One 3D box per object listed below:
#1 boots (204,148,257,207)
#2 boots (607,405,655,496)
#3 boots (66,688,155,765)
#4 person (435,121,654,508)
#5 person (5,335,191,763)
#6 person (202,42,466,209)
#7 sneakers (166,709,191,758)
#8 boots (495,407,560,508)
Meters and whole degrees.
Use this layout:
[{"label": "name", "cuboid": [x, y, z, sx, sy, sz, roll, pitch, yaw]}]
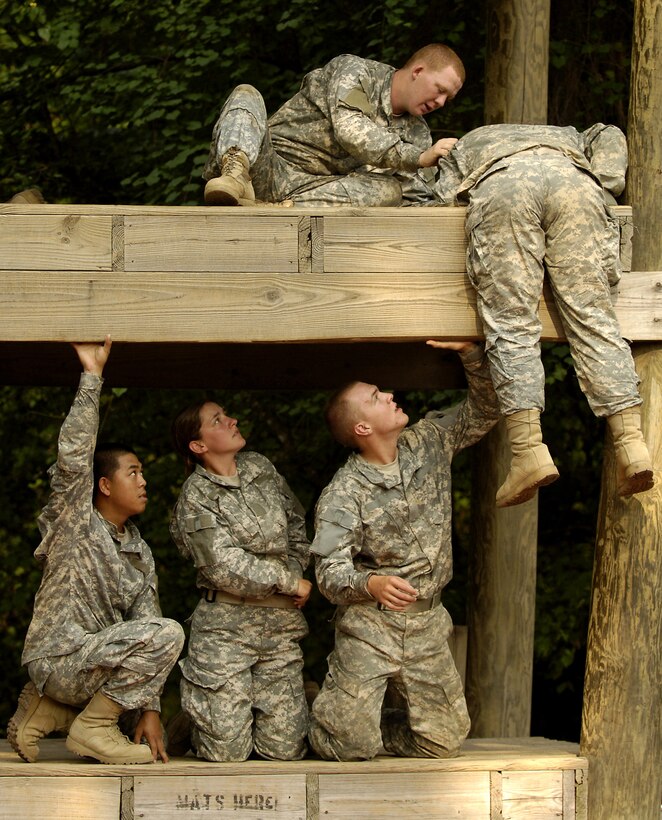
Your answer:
[{"label": "boots", "cuboid": [-0.431, -0.989, 8.306, 0.153, 0.245, 0.392, -3, -1, 17]}, {"label": "boots", "cuboid": [1.245, 0.165, 8.048, 0.167, 0.380, 0.326, -3, 8, 8]}, {"label": "boots", "cuboid": [-0.934, 1.345, 8.295, 0.365, 0.316, 0.171, 0, 9, 25]}, {"label": "person", "cuboid": [0.904, -0.426, 8.242, 0.793, 1.568, 0.852, -4, 8, 5]}, {"label": "person", "cuboid": [-1.037, 0.598, 8.450, 0.793, 1.833, 0.687, -4, 8, 7]}, {"label": "person", "cuboid": [0.054, -1.249, 8.709, 1.199, 0.713, 0.973, -5, 8, -7]}, {"label": "sneakers", "cuboid": [-0.682, 1.445, 8.781, 0.072, 0.158, 0.126, 3, -8, 37]}, {"label": "boots", "cuboid": [0.817, 0.176, 8.138, 0.184, 0.377, 0.430, -3, -18, -20]}]
